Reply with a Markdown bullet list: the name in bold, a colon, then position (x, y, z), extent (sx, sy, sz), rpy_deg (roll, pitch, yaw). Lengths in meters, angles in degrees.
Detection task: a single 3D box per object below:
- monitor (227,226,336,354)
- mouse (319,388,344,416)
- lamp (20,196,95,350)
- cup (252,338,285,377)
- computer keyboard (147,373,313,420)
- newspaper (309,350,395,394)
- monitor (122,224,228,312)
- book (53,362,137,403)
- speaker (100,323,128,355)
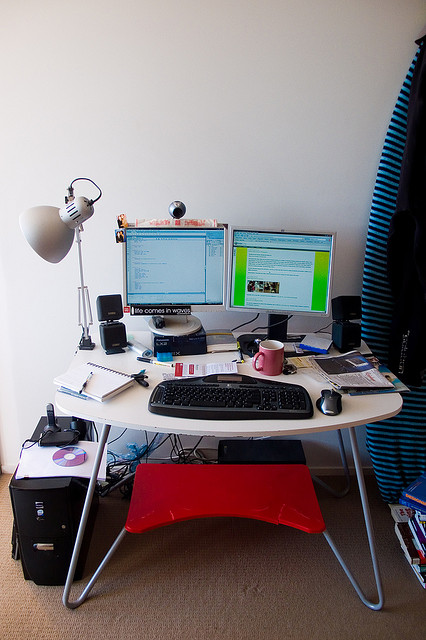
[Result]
- **monitor**: position (0.256, -0.112, 1.921), extent (0.393, 0.495, 0.157), rpy_deg (3, 23, 5)
- **mouse**: position (0.347, 0.246, 1.468), extent (0.069, 0.055, 0.065), rpy_deg (2, 11, 13)
- **lamp**: position (-0.510, -0.157, 1.828), extent (0.225, 0.548, 0.428), rpy_deg (-1, 10, -1)
- **cup**: position (0.193, 0.132, 1.683), extent (0.135, 0.117, 0.085), rpy_deg (-3, 11, -16)
- **computer keyboard**: position (0.063, 0.237, 1.535), extent (0.474, 0.045, 0.235), rpy_deg (3, 22, -1)
- **newspaper**: position (0.453, 0.186, 1.655), extent (0.201, 0.062, 0.224), rpy_deg (-2, 11, -10)
- **monitor**: position (-0.135, -0.187, 1.846), extent (0.382, 0.321, 0.049), rpy_deg (-2, 10, -8)
- **book**: position (-0.383, 0.202, 1.606), extent (0.205, 0.051, 0.183), rpy_deg (13, 20, 26)
- **speaker**: position (-0.364, 0.072, 1.824), extent (0.081, 0.115, 0.067), rpy_deg (-6, 22, -16)
